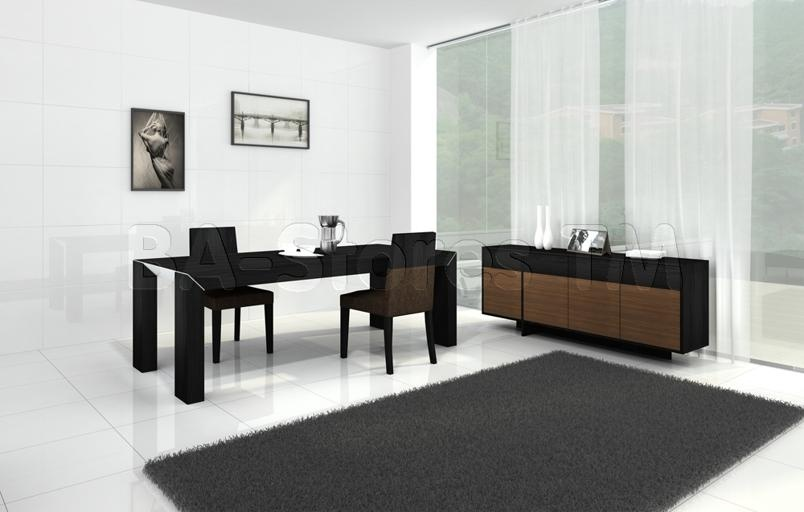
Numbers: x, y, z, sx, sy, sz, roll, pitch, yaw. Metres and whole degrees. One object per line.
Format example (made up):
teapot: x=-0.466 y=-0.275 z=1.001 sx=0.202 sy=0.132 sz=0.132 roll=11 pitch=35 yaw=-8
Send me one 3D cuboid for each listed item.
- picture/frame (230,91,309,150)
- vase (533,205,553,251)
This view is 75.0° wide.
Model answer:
picture/frame: x=-1.752 y=-1.740 z=6.714 sx=0.889 sy=0.526 sz=0.056 roll=-2 pitch=8 yaw=-35
vase: x=1.710 y=-0.343 z=6.254 sx=0.223 sy=0.465 sz=0.423 roll=3 pitch=14 yaw=14
